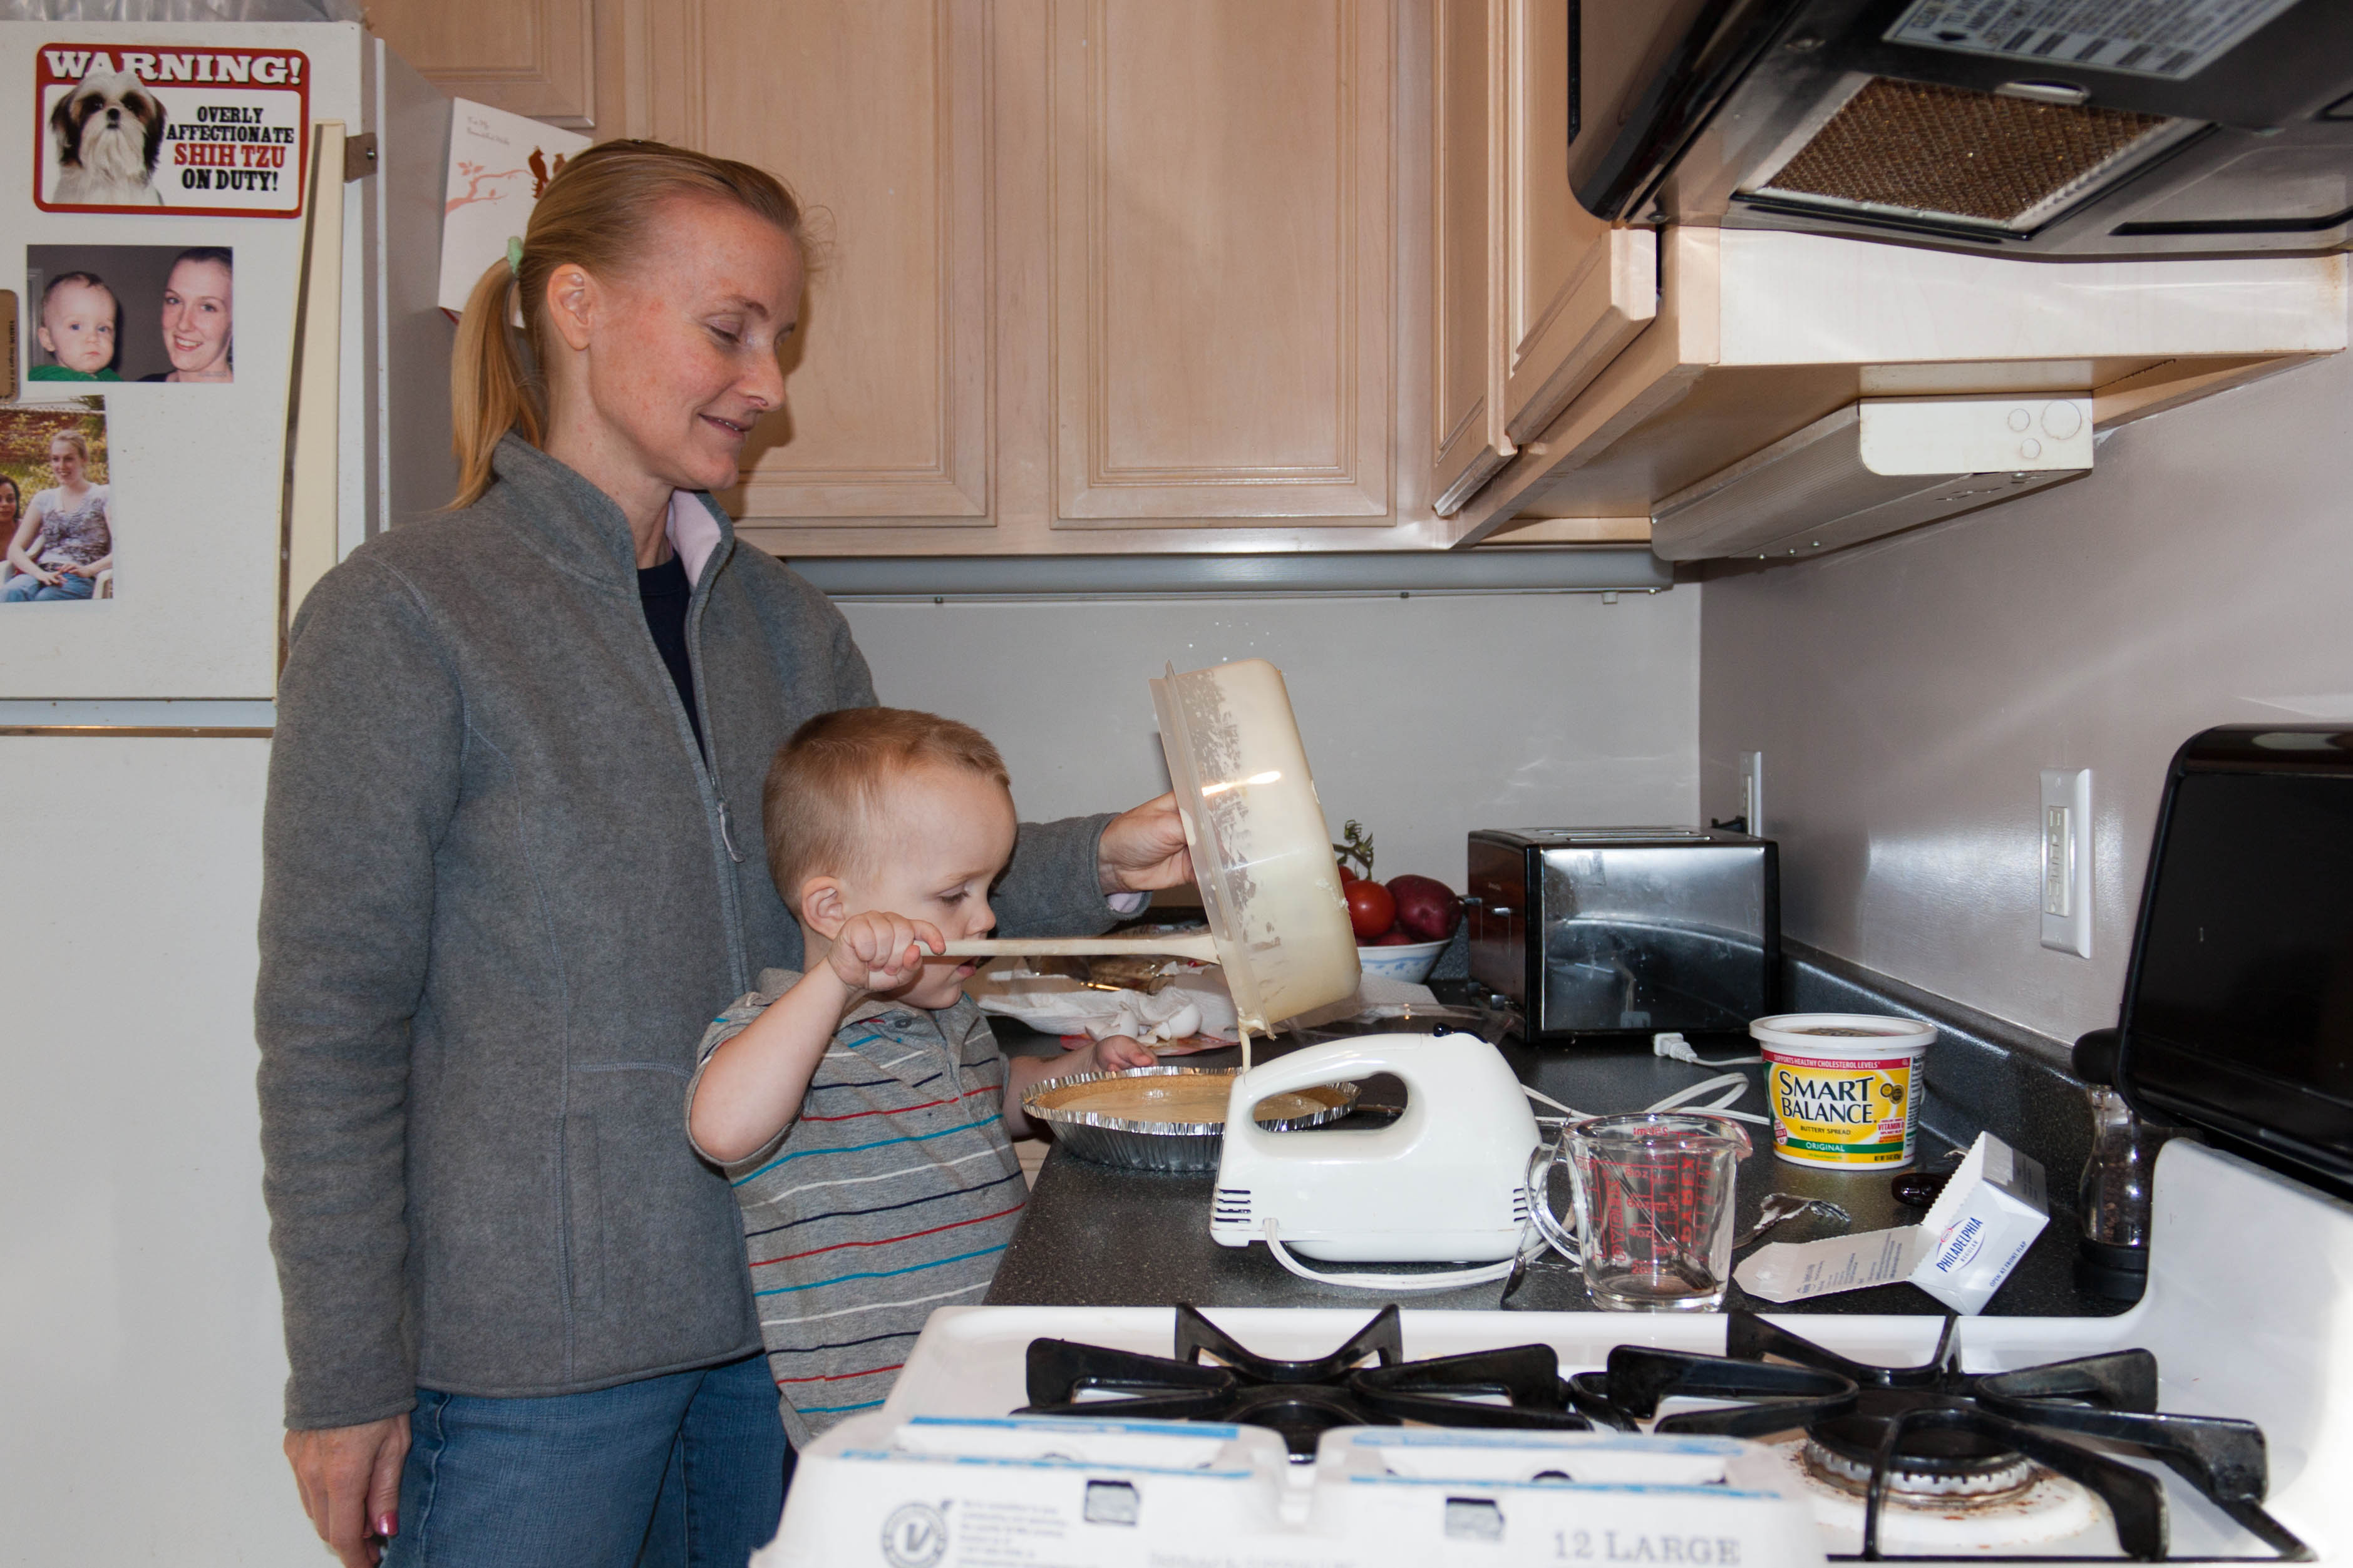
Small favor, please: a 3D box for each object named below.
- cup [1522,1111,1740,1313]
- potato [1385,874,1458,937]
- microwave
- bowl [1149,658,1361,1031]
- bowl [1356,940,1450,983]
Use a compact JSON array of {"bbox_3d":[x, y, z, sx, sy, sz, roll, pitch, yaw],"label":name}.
[{"bbox_3d":[0.360,0.323,1.319,0.136,0.123,0.145,0,-2,0],"label":"cup"},{"bbox_3d":[0.332,0.162,2.364,0.090,0.063,0.069,30,8,40],"label":"potato"},{"bbox_3d":[0.535,0.167,2.106,0.341,0.231,0.264,-1,5,4],"label":"microwave"},{"bbox_3d":[0.066,0.058,1.425,0.157,0.317,0.099,-2,6,-1],"label":"bowl"},{"bbox_3d":[0.299,0.229,2.288,0.131,0.045,0.129,-1,1,0],"label":"bowl"}]
